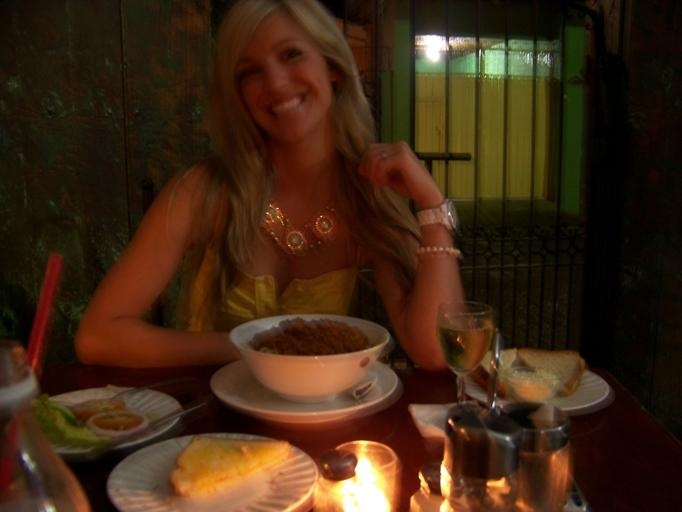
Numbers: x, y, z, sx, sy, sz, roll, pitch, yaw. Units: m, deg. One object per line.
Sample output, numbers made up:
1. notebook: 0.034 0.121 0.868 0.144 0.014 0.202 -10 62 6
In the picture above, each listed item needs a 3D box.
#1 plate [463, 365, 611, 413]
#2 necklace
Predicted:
1. plate: 0.482 0.362 1.494 0.369 0.044 0.383 8 -31 -30
2. necklace: -0.164 -0.092 2.329 0.265 0.222 0.050 -13 -4 -13
